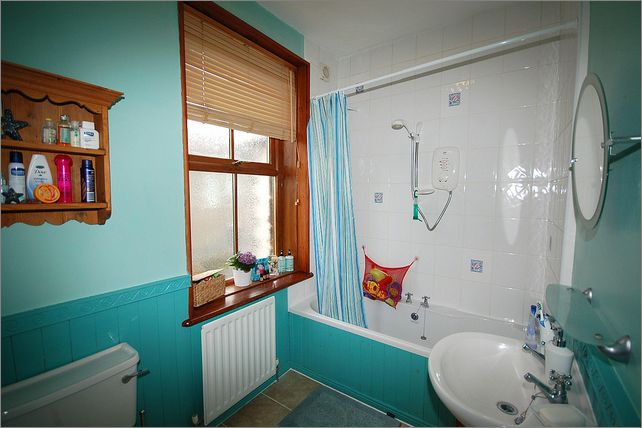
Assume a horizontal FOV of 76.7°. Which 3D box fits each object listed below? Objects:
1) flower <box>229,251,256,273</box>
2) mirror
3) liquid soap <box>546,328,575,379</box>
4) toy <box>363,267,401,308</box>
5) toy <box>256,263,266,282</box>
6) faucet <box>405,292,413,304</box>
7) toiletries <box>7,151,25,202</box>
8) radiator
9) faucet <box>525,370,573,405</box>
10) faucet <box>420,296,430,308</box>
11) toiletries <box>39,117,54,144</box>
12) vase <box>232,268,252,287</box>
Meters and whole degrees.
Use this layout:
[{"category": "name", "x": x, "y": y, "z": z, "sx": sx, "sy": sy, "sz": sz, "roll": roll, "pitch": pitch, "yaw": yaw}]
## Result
[{"category": "flower", "x": -0.636, "y": 0.391, "z": 3.249, "sx": 0.161, "sy": 0.100, "sz": 0.165, "roll": 4, "pitch": -2, "yaw": -13}, {"category": "mirror", "x": 1.501, "y": -0.333, "z": 2.171, "sx": 0.122, "sy": 0.847, "sz": 0.571, "roll": 0, "pitch": 5, "yaw": 14}, {"category": "liquid soap", "x": 1.290, "y": 0.775, "z": 2.229, "sx": 0.090, "sy": 0.246, "sz": 0.179, "roll": 5, "pitch": 9, "yaw": 11}, {"category": "toy", "x": 0.564, "y": 0.612, "z": 3.630, "sx": 0.311, "sy": 0.344, "sz": 0.223, "roll": 8, "pitch": 8, "yaw": 20}, {"category": "toy", "x": -0.499, "y": 0.500, "z": 3.420, "sx": 0.033, "sy": 0.123, "sz": 0.130, "roll": -8, "pitch": -3, "yaw": 24}, {"category": "faucet", "x": 0.792, "y": 0.757, "z": 3.628, "sx": 0.088, "sy": 0.123, "sz": 0.076, "roll": 0, "pitch": -4, "yaw": 12}, {"category": "toiletries", "x": -1.695, "y": -0.207, "z": 2.239, "sx": 0.080, "sy": 0.270, "sz": 0.034, "roll": -5, "pitch": 6, "yaw": -39}, {"category": "radiator", "x": -0.622, "y": 1.090, "z": 3.058, "sx": 0.032, "sy": 0.775, "sz": 0.618, "roll": 3, "pitch": 7, "yaw": 45}, {"category": "faucet", "x": 1.253, "y": 0.936, "z": 2.208, "sx": 0.171, "sy": 0.190, "sz": 0.198, "roll": -5, "pitch": 6, "yaw": -38}, {"category": "faucet", "x": 0.919, "y": 0.770, "z": 3.545, "sx": 0.082, "sy": 0.139, "sz": 0.087, "roll": 9, "pitch": -9, "yaw": -44}, {"category": "toiletries", "x": -1.571, "y": -0.474, "z": 2.321, "sx": 0.068, "sy": 0.148, "sz": 0.069, "roll": 2, "pitch": 6, "yaw": 37}, {"category": "vase", "x": -0.636, "y": 0.513, "z": 3.263, "sx": 0.140, "sy": 0.108, "sz": 0.131, "roll": 2, "pitch": -4, "yaw": 0}]
